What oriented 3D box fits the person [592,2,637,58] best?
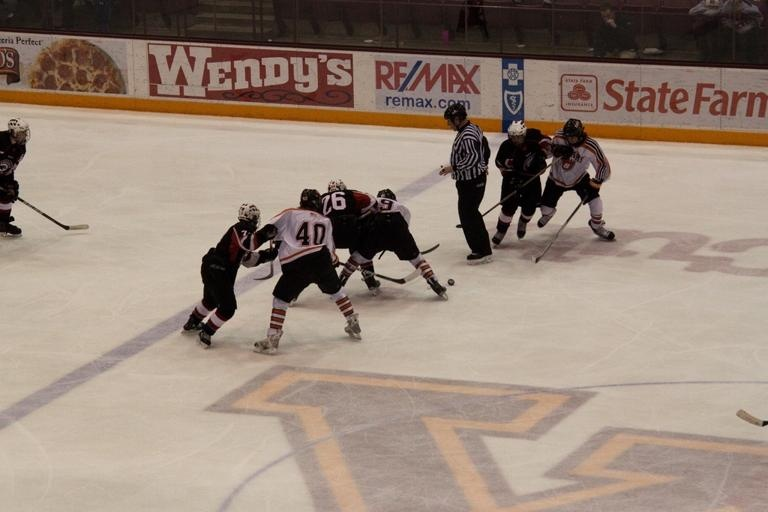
[{"bbox_3d":[3.861,-3.711,16.327,0.730,0.747,0.256,3,17,14],"label":"person"}]

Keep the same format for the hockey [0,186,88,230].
[{"bbox_3d":[-4.485,-0.617,12.935,1.295,0.058,0.405,22,22,18],"label":"hockey"}]

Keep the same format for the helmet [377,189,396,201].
[{"bbox_3d":[0.025,-0.712,11.199,0.172,0.116,0.247,6,-3,3],"label":"helmet"}]

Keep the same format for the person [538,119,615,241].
[{"bbox_3d":[2.456,-0.955,12.388,0.968,1.562,0.594,1,16,7],"label":"person"}]

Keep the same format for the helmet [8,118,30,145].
[{"bbox_3d":[-4.631,-1.573,12.433,0.231,0.295,0.273,-6,16,-20],"label":"helmet"}]

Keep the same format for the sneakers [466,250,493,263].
[{"bbox_3d":[1.165,0.012,12.006,0.290,0.128,0.112,-7,57,5],"label":"sneakers"}]

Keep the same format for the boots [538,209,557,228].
[{"bbox_3d":[2.166,-0.502,12.994,0.196,0.250,0.085,-4,49,-33],"label":"boots"}]

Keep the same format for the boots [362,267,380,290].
[{"bbox_3d":[-0.160,0.270,11.422,0.091,0.234,0.173,-28,3,-13],"label":"boots"}]

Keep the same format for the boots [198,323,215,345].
[{"bbox_3d":[-1.873,0.812,10.236,0.111,0.220,0.182,-3,-15,27],"label":"boots"}]

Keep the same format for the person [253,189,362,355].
[{"bbox_3d":[-0.821,0.148,10.184,1.124,1.646,0.551,-2,16,-6],"label":"person"}]

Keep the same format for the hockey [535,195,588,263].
[{"bbox_3d":[2.294,-0.327,12.739,0.238,0.116,1.527,-21,17,42],"label":"hockey"}]

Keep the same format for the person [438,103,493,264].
[{"bbox_3d":[0.994,-0.859,11.850,0.610,1.909,0.222,0,16,4],"label":"person"}]

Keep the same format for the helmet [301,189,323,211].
[{"bbox_3d":[-0.732,-0.606,10.256,0.231,0.232,0.257,8,29,9],"label":"helmet"}]

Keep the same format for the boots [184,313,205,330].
[{"bbox_3d":[-2.044,0.734,10.522,0.129,0.315,0.127,16,46,-19],"label":"boots"}]

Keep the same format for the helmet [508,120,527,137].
[{"bbox_3d":[1.628,-1.576,12.155,0.232,0.223,0.260,-2,26,17],"label":"helmet"}]

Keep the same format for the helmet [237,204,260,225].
[{"bbox_3d":[-1.381,-0.426,10.076,0.186,0.194,0.226,-1,14,-1],"label":"helmet"}]
